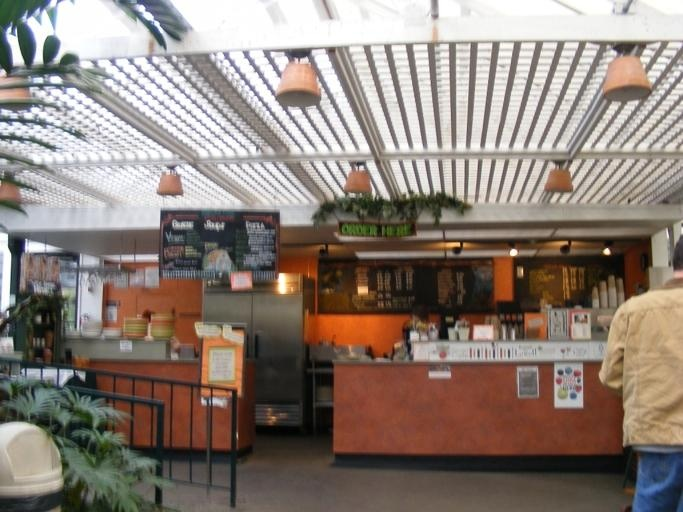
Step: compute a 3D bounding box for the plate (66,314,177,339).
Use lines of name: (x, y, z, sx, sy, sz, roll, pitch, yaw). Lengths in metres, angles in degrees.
plate: (-3.443, 1.161, 9.206, 1.242, 0.437, 0.821, 1, -8, -12)

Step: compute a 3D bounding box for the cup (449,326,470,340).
cup: (1.694, 1.106, 7.932, 0.227, 0.175, 0.211, 2, -7, 0)
